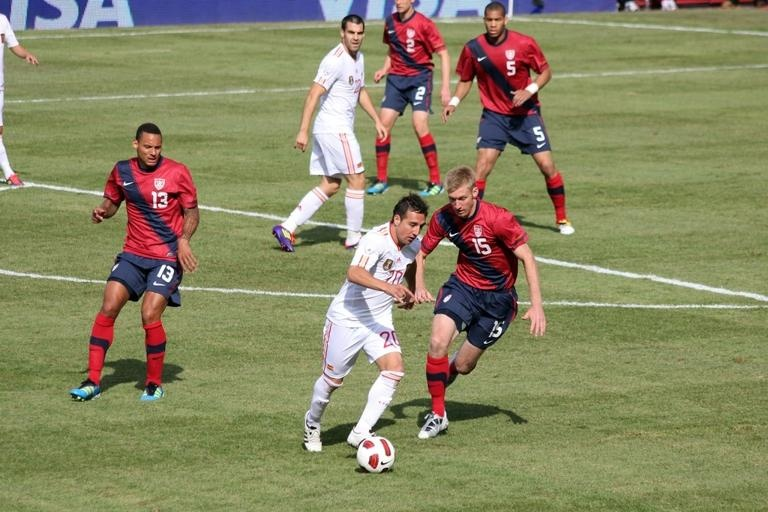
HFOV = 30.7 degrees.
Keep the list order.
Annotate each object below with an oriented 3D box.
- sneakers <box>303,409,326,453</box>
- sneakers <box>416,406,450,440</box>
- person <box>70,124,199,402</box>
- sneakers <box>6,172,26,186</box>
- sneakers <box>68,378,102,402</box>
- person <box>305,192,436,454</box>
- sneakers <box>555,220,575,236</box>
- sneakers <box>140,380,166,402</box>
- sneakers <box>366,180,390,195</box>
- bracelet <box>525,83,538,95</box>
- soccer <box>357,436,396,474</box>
[{"bbox_3d":[-0.829,1.953,15.470,0.208,0.433,0.202,-5,-9,-24],"label":"sneakers"},{"bbox_3d":[0.502,1.921,15.696,0.203,0.183,0.472,10,15,36],"label":"sneakers"},{"bbox_3d":[-2.805,0.067,16.261,1.220,3.149,1.005,3,13,-7],"label":"person"},{"bbox_3d":[-5.689,-1.175,21.605,0.292,0.074,0.197,16,-19,-12],"label":"sneakers"},{"bbox_3d":[-3.432,1.559,16.085,0.205,0.173,0.361,16,-1,14],"label":"sneakers"},{"bbox_3d":[-0.139,0.740,15.477,0.911,2.880,1.237,14,16,35],"label":"person"},{"bbox_3d":[2.604,-0.396,20.222,0.234,0.112,0.249,3,14,-3],"label":"sneakers"},{"bbox_3d":[-2.679,1.585,16.209,0.267,0.209,0.439,0,-7,-4],"label":"sneakers"},{"bbox_3d":[-0.125,-1.051,21.921,0.163,0.156,0.415,0,1,30],"label":"sneakers"},{"bbox_3d":[2.046,-2.343,19.671,0.169,0.159,0.431,7,11,14],"label":"bracelet"},{"bbox_3d":[-0.121,2.171,15.249,0.495,0.366,0.404,0,0,-4],"label":"soccer"}]
